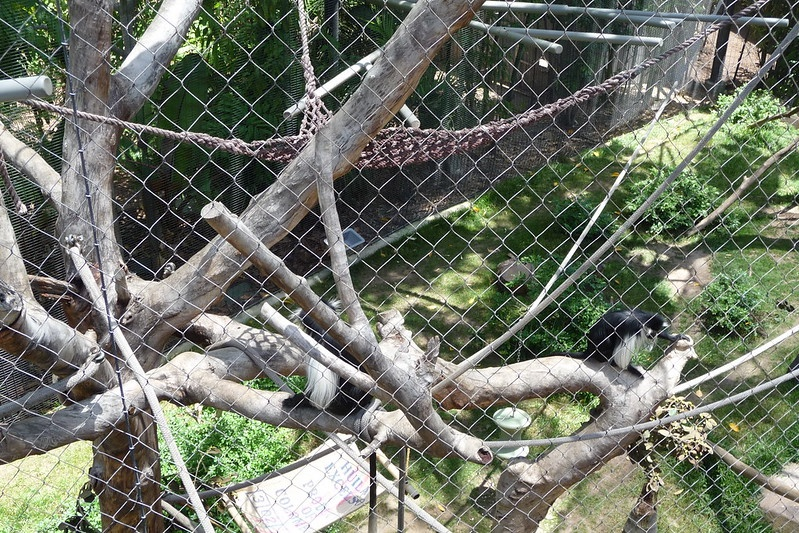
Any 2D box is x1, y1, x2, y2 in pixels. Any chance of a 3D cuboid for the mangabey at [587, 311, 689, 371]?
[{"bbox_3d":[1.603,0.537,5.467,0.985,0.401,0.308,1,18,30],"label":"mangabey"}]
